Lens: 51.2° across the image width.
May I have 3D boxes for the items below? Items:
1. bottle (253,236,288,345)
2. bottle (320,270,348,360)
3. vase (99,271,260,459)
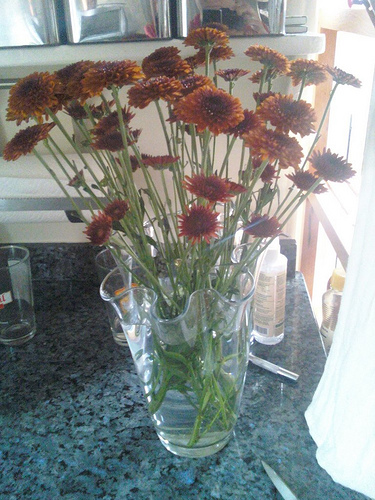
[{"bbox_3d":[0.153,0.080,0.707,0.048,0.210,0.082,15,37,28],"label":"bottle"},{"bbox_3d":[0.254,0.114,0.705,0.031,0.146,0.108,8,34,20],"label":"bottle"},{"bbox_3d":[0.031,0.102,0.569,0.226,0.246,0.222,4,30,22],"label":"vase"}]
